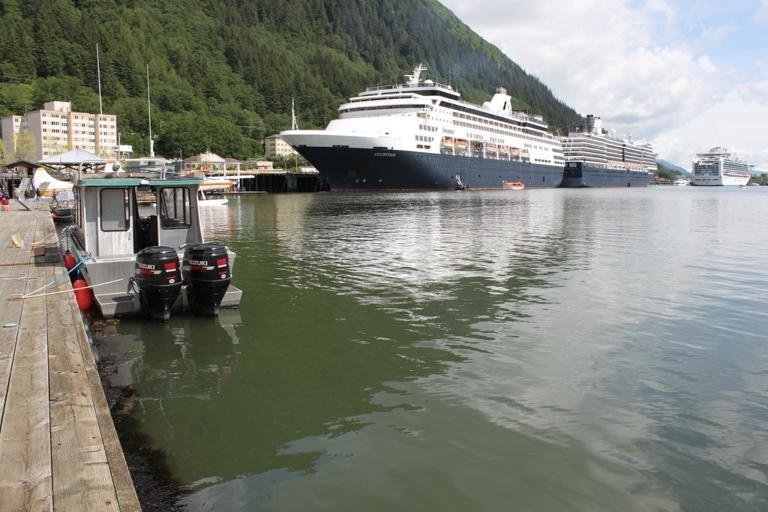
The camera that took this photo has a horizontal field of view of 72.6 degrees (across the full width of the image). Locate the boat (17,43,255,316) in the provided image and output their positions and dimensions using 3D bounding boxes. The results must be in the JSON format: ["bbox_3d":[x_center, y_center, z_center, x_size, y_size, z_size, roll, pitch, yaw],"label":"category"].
[{"bbox_3d":[-8.692,-1.494,18.382,7.690,6.253,17.008,-2,4,-29],"label":"boat"}]

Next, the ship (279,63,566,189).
[{"bbox_3d":[14.546,-25.570,111.811,19.431,25.947,79.458,9,16,38],"label":"ship"}]
